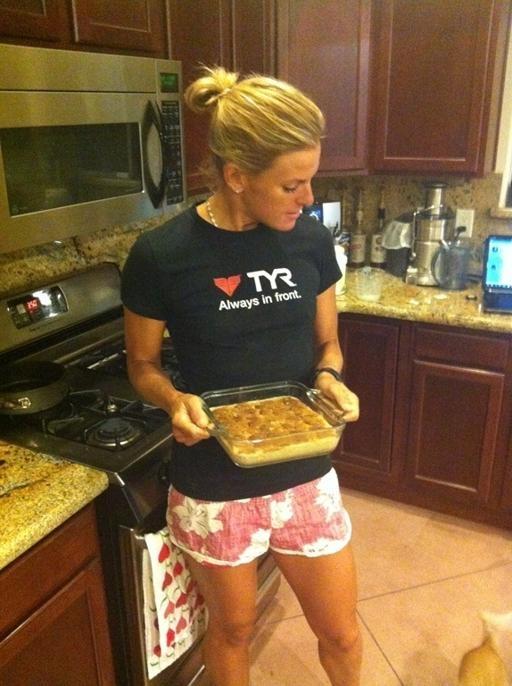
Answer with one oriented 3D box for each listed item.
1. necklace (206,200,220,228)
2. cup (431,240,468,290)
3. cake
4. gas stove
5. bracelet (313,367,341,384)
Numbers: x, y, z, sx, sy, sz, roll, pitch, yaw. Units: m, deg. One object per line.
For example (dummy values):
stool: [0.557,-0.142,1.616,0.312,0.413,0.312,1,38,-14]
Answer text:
necklace: [-0.083,-0.241,0.965,0.017,0.041,0.059,-7,23,-12]
cup: [0.879,-0.350,2.344,0.094,0.202,0.137,-18,28,-33]
cake: [0.033,0.151,0.877,0.159,0.045,0.143,-6,21,-21]
gas stove: [-0.453,0.218,1.371,0.152,0.321,0.481,-34,10,-26]
bracelet: [0.152,0.070,1.093,0.032,0.018,0.041,3,32,-21]
